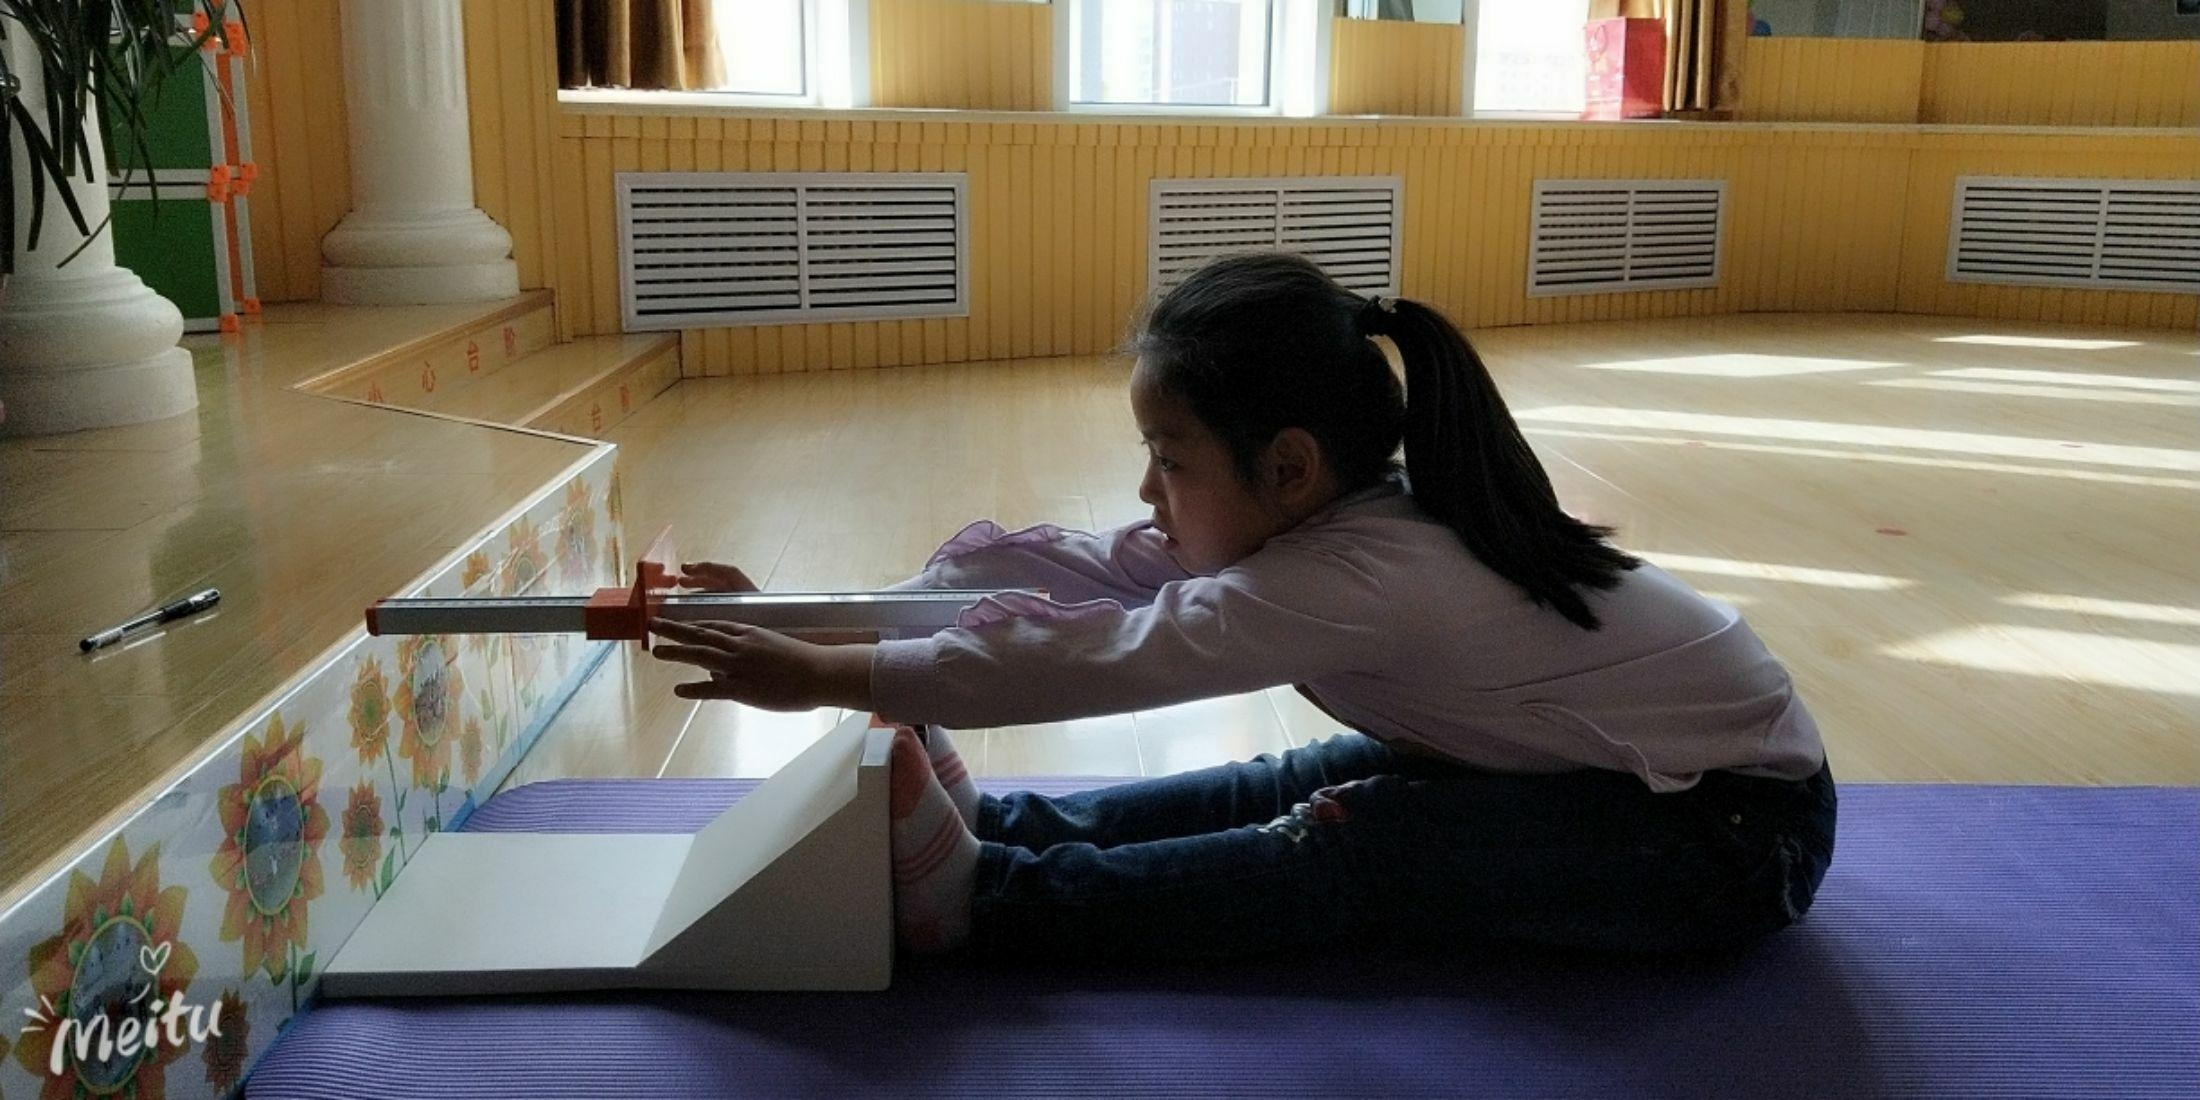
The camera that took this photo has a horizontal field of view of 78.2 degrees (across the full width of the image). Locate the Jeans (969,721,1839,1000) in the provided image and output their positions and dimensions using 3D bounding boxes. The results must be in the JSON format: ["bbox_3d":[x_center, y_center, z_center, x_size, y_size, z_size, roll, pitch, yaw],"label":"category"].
[{"bbox_3d":[0.430,0.415,2.012,1.166,0.258,0.448,-2,13,0],"label":"Jeans"}]

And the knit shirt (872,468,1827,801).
[{"bbox_3d":[0.355,0.053,1.942,1.047,0.291,0.557,-2,-3,-5],"label":"knit shirt"}]

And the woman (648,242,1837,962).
[{"bbox_3d":[0.140,0.192,2.056,1.808,0.932,0.843,4,-10,-15],"label":"woman"}]

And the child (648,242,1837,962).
[{"bbox_3d":[0.202,0.178,2.055,1.683,0.823,0.725,2,-5,5],"label":"child"}]

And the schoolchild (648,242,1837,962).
[{"bbox_3d":[0.216,0.172,2.094,1.678,0.854,0.710,0,-5,1],"label":"schoolchild"}]

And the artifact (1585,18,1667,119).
[{"bbox_3d":[2.486,-2.296,6.381,0.385,0.446,0.189,4,20,15],"label":"artifact"}]

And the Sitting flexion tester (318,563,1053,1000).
[{"bbox_3d":[-0.592,0.297,2.079,1.080,0.548,0.646,-5,7,11],"label":"Sitting flexion tester"}]
